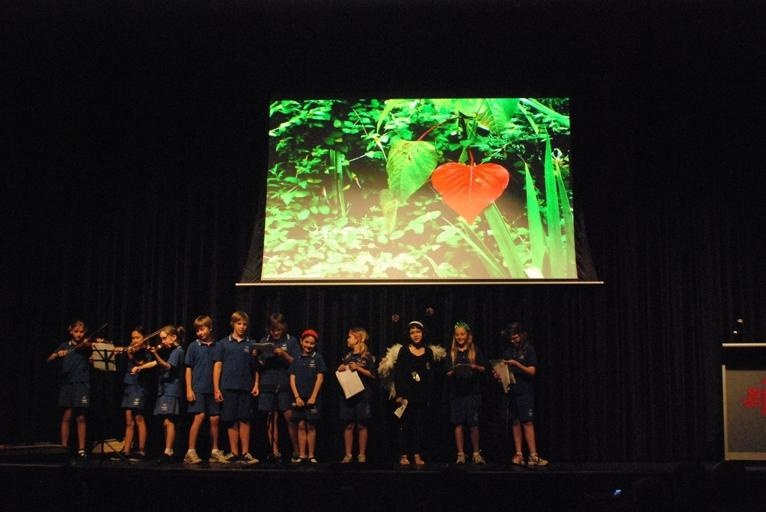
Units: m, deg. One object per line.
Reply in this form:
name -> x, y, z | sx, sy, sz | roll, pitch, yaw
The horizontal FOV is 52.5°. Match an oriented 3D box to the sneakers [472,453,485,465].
sneakers -> 1.319, 2.761, 10.530 | 0.196, 0.167, 0.126 | 3, -3, 6

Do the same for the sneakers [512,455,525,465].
sneakers -> 1.848, 2.754, 10.485 | 0.186, 0.142, 0.209 | 1, -9, -3

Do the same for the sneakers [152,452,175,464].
sneakers -> -2.967, 2.734, 10.472 | 0.255, 0.097, 0.139 | 4, -8, 0

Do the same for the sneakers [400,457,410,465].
sneakers -> 0.296, 2.768, 10.436 | 0.118, 0.110, 0.073 | -3, -4, -1

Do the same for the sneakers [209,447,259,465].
sneakers -> -1.998, 2.685, 10.418 | 0.663, 0.252, 0.240 | 0, -11, -4

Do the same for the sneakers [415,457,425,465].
sneakers -> 0.501, 2.758, 10.504 | 0.145, 0.143, 0.227 | 0, -9, 0

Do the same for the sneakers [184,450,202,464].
sneakers -> -2.536, 2.706, 10.429 | 0.231, 0.144, 0.133 | -2, -6, 17

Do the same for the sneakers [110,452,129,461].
sneakers -> -3.563, 2.729, 10.533 | 0.305, 0.117, 0.109 | 0, -15, 12

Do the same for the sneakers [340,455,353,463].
sneakers -> -0.483, 2.727, 10.420 | 0.151, 0.096, 0.239 | 1, -9, -3

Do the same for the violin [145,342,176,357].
violin -> -3.081, 1.311, 10.761 | 0.384, 0.107, 0.221 | 1, -3, -25

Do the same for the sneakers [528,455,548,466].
sneakers -> 2.110, 2.749, 10.416 | 0.331, 0.147, 0.111 | -2, -2, -1
